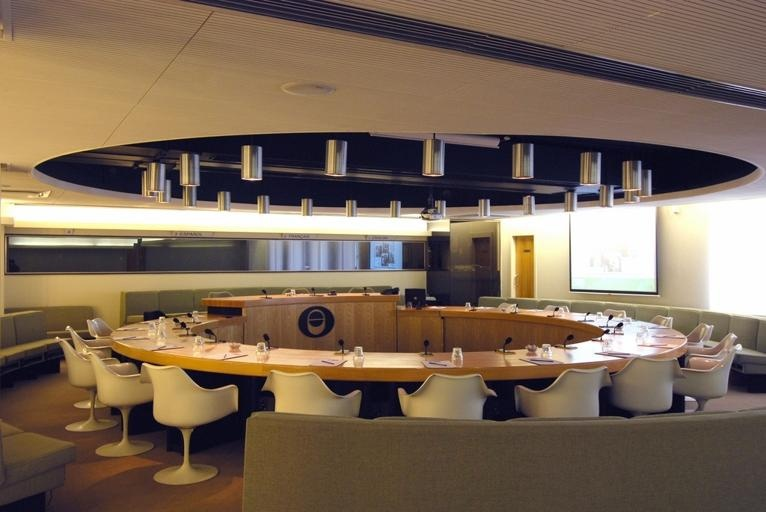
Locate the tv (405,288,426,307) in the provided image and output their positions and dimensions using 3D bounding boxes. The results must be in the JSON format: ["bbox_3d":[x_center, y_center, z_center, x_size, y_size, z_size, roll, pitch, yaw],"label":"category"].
[{"bbox_3d":[0.527,0.700,10.144,0.405,0.313,0.303,1,-2,1],"label":"tv"}]

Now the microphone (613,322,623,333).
[{"bbox_3d":[3.065,0.929,7.849,0.121,0.204,0.129,-1,-45,23],"label":"microphone"}]

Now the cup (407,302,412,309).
[{"bbox_3d":[0.433,0.829,10.056,0.102,0.138,0.100,1,-5,0],"label":"cup"}]
